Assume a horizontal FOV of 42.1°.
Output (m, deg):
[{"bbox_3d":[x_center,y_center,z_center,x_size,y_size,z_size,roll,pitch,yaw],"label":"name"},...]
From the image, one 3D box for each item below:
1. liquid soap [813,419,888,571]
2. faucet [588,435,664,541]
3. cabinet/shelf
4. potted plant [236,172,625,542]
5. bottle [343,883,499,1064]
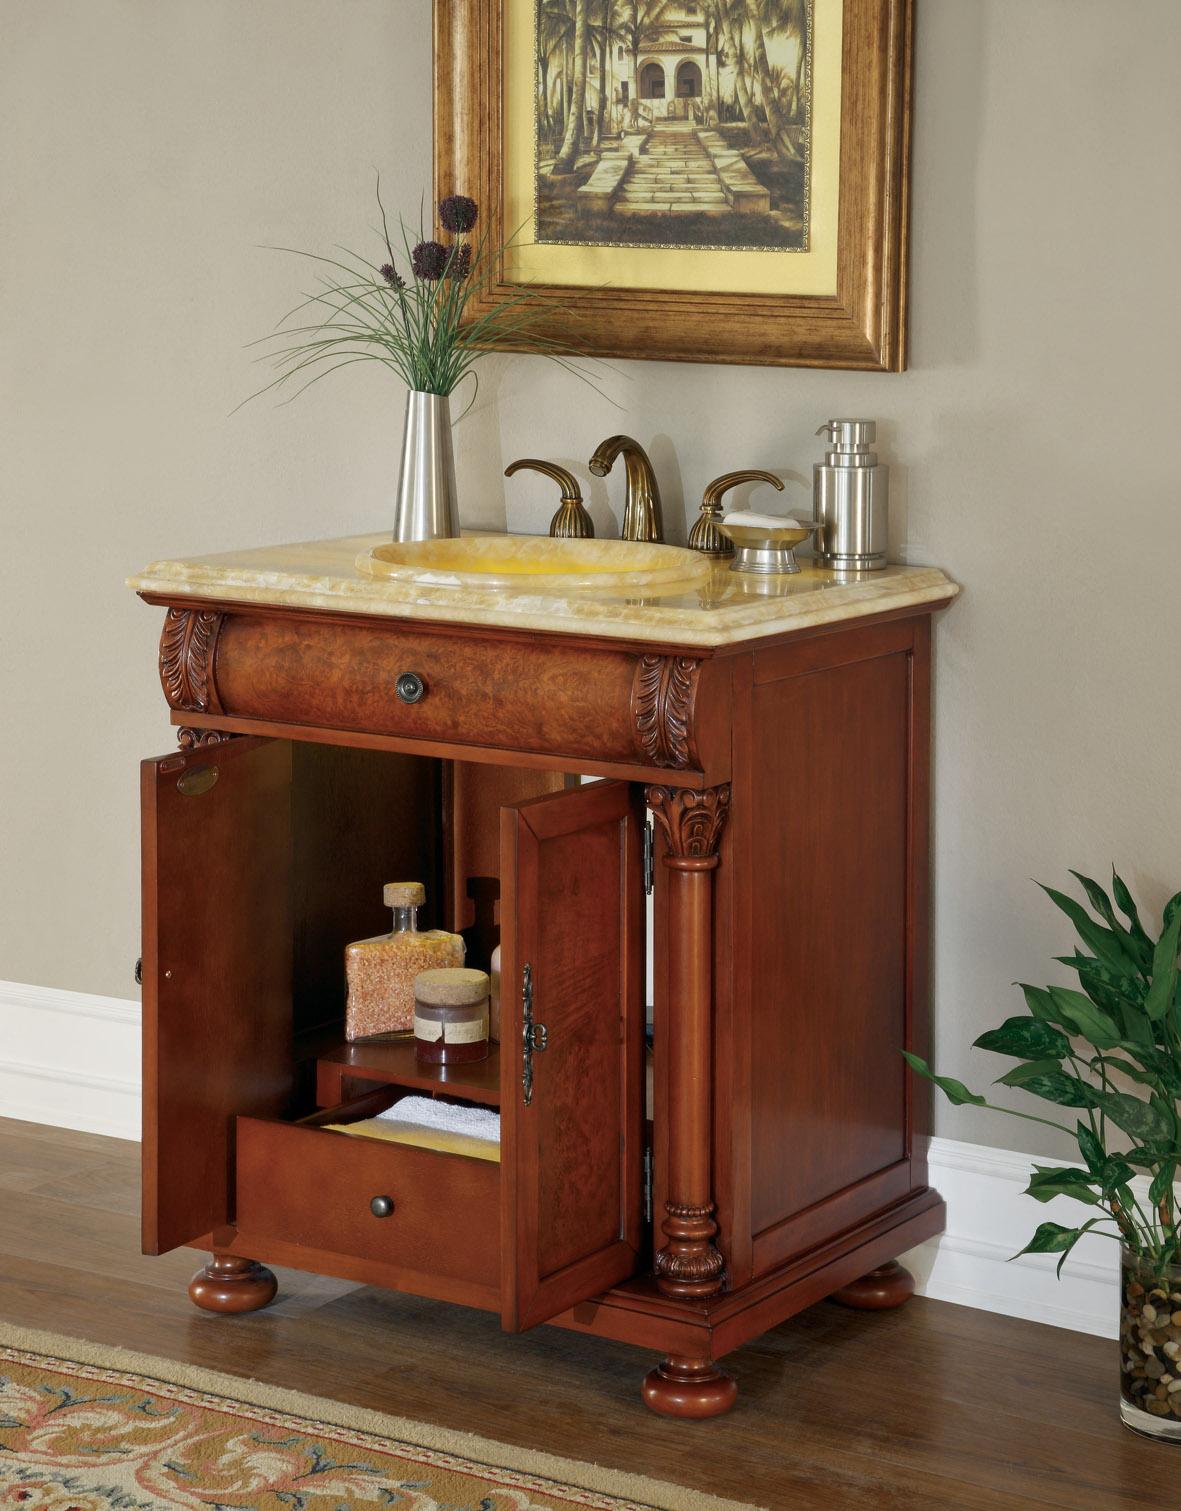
[{"bbox_3d":[0.276,-0.278,1.638,0.076,0.165,0.067,1,1,6],"label":"liquid soap"},{"bbox_3d":[0.045,-0.307,1.762,0.073,0.117,0.207,1,1,4],"label":"faucet"},{"bbox_3d":[-0.065,0.191,1.619,0.681,0.706,0.687,1,1,29],"label":"cabinet/shelf"},{"bbox_3d":[-0.249,-0.526,1.937,0.517,0.499,0.491,3,9,14],"label":"potted plant"},{"bbox_3d":[-0.203,0.257,1.784,0.196,0.224,0.141,2,7,20],"label":"bottle"}]
